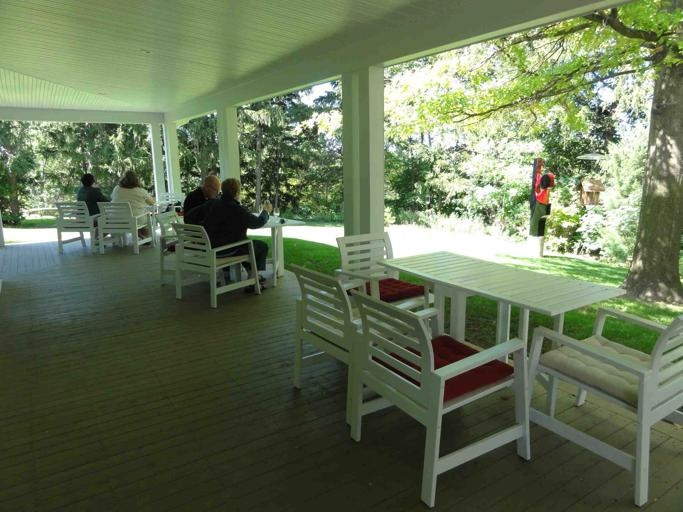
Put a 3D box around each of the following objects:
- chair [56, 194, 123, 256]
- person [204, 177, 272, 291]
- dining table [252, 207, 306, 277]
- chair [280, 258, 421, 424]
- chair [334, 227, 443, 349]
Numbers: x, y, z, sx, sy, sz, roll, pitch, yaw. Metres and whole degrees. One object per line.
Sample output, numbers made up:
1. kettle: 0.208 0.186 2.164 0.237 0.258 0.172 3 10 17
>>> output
1. chair: -4.458 -0.570 8.849 1.039 1.252 0.910 1 22 -4
2. person: -1.292 -0.318 6.319 0.912 1.244 0.795 0 18 -30
3. dining table: -0.845 -0.163 6.749 0.759 0.883 1.325 -4 16 -11
4. chair: 0.141 0.535 4.156 1.035 1.234 0.911 -9 16 -39
5. chair: 0.428 0.227 4.703 0.937 1.166 0.894 -9 14 -29
